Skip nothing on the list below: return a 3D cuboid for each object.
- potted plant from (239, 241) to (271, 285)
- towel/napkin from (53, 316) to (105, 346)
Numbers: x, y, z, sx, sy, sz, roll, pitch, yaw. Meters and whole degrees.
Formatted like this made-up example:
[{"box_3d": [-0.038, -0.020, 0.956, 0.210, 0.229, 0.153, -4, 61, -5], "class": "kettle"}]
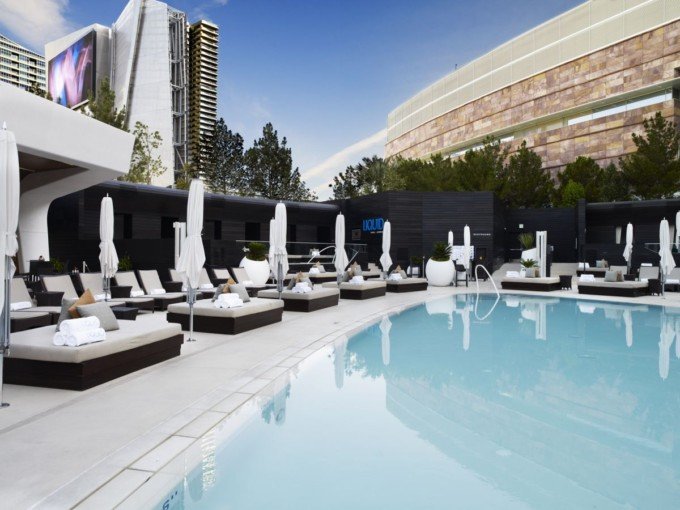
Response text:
[{"box_3d": [-3.105, 0.256, 16.392, 1.277, 2.069, 1.384, 0, 3, 3], "class": "potted plant"}, {"box_3d": [-3.155, 0.939, 5.370, 0.369, 0.217, 0.396, 1, -1, 27], "class": "towel/napkin"}]
